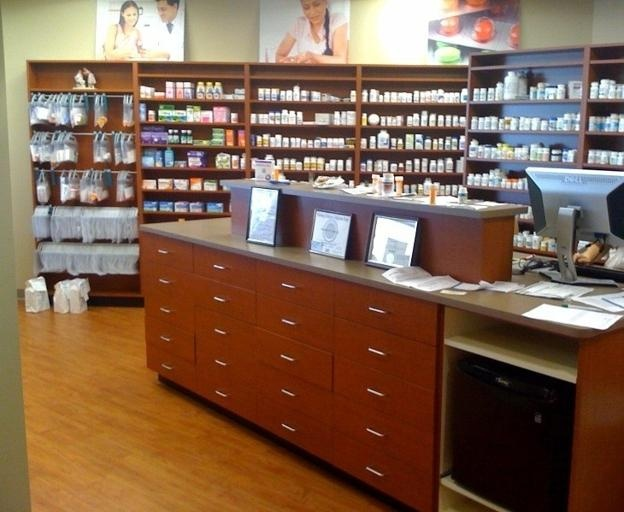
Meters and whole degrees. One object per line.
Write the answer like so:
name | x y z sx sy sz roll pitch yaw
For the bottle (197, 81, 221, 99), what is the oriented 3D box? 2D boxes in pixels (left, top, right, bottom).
bottle | -1.227 -1.945 6.066 0.228 0.154 0.079 1 19 1
